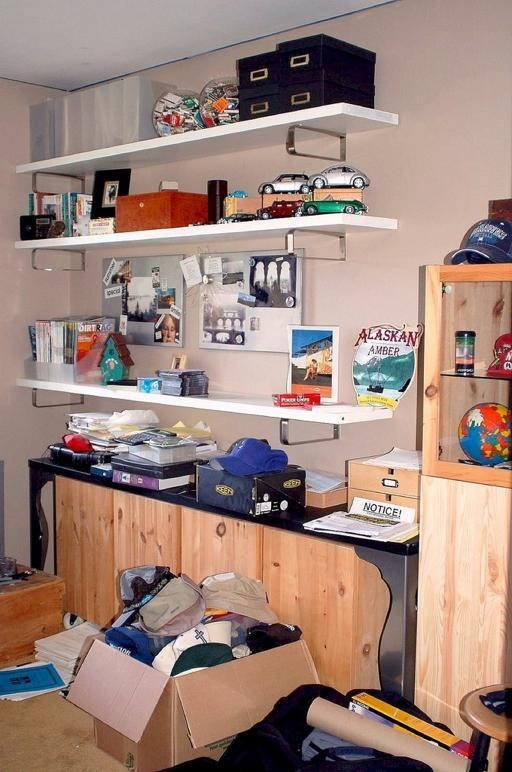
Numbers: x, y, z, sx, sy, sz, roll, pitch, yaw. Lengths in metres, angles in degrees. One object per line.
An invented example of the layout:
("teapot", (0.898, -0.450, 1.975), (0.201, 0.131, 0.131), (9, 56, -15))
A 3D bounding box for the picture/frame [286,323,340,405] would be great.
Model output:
("picture/frame", (0.222, -0.076, 2.340), (0.295, 0.388, 0.028), (2, 1, 42))

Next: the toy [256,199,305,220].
("toy", (0.081, -0.617, 2.133), (0.118, 0.057, 0.073), (12, 23, 24))

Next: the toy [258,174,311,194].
("toy", (0.104, -0.710, 2.128), (0.133, 0.060, 0.091), (5, 20, 9))

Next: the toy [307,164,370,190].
("toy", (0.274, -0.675, 2.033), (0.155, 0.071, 0.090), (6, 16, 7))

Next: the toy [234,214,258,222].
("toy", (-0.041, -0.628, 2.289), (0.080, 0.027, 0.037), (7, 17, 6))

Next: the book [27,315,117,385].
("book", (-1.004, -0.229, 3.278), (0.547, 0.269, 0.231), (2, 3, 26))

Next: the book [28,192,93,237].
("book", (-1.013, -0.882, 3.206), (0.258, 0.250, 0.141), (14, 18, 34))

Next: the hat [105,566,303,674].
("hat", (-0.146, 0.669, 1.781), (0.328, 0.123, 0.329), (-3, 6, -42))

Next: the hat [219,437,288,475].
("hat", (-0.003, 0.233, 2.153), (0.182, 0.066, 0.127), (-2, 9, -35))

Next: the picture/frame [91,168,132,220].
("picture/frame", (-0.718, -0.939, 3.072), (0.216, 0.302, 0.019), (8, -31, -18))

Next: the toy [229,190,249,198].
("toy", (-0.075, -0.740, 2.402), (0.082, 0.032, 0.053), (7, 17, 19))
